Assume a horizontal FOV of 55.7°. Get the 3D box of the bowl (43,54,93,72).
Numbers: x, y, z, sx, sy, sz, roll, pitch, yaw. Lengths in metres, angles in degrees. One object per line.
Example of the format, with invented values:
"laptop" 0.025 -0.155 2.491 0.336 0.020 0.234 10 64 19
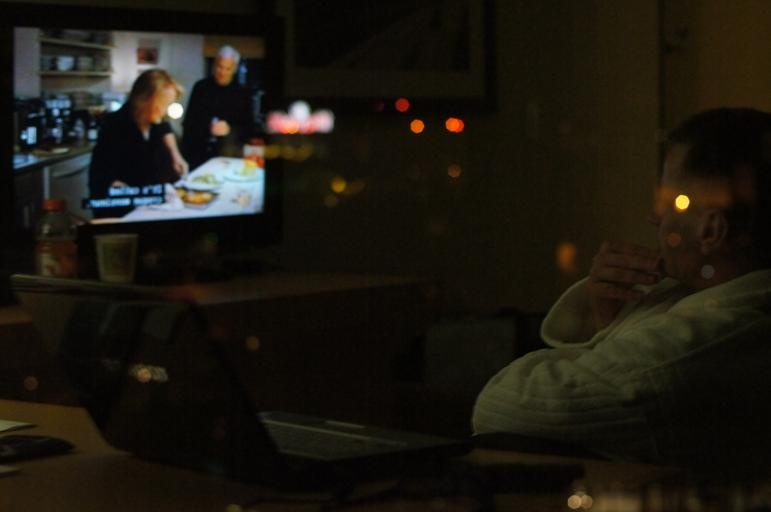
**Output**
"bowl" -0.792 -0.474 1.796 0.064 0.026 0.079 0 -1 -11
